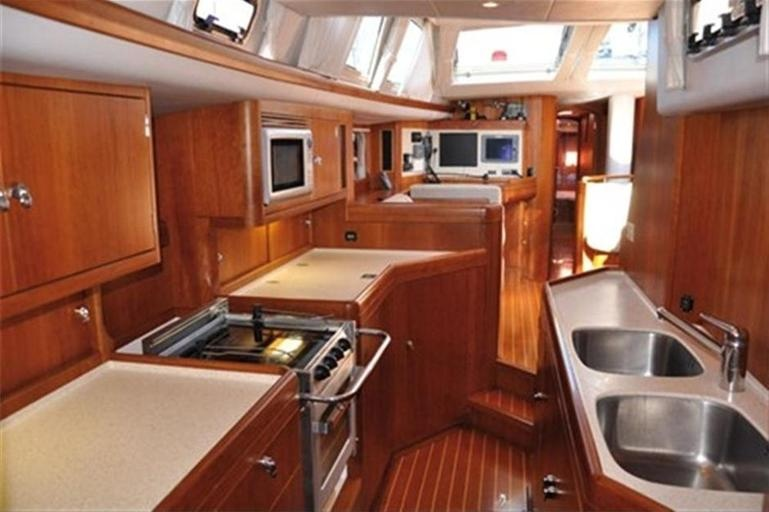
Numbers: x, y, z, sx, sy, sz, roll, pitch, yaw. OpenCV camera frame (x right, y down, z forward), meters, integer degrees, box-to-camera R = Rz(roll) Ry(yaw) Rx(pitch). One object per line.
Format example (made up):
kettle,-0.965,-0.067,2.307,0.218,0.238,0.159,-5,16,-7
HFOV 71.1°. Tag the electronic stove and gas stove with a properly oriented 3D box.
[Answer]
electronic stove and gas stove,-0.612,0.391,2.498,0.427,0.124,0.383,5,11,12

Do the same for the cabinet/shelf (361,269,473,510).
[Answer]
cabinet/shelf,0.187,0.869,3.540,0.613,1.159,1.175,1,16,12

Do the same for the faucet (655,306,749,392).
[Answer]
faucet,1.294,0.345,2.145,0.214,0.307,0.344,2,12,7
